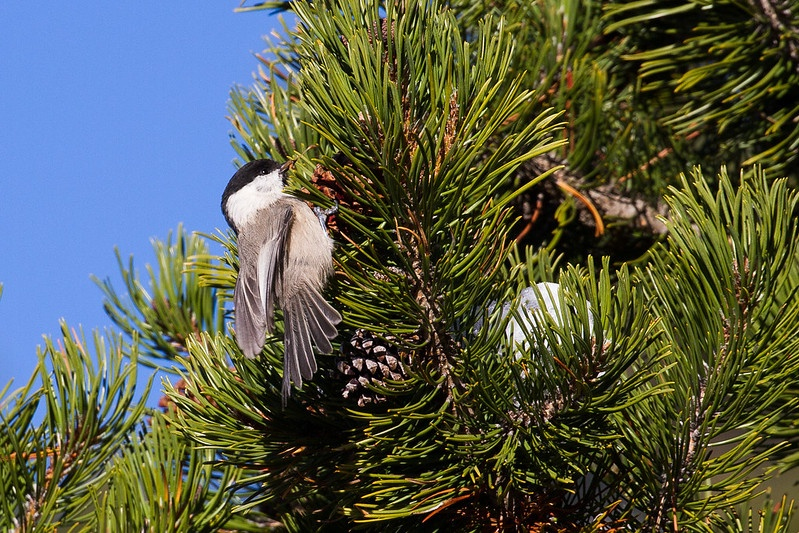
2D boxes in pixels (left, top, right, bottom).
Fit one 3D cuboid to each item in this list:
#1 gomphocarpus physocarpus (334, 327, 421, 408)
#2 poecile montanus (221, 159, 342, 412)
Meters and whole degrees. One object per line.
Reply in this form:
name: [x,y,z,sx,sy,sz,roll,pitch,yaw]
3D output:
gomphocarpus physocarpus: [-0.056,0.468,4.900,0.327,0.331,0.360,-8,-24,-3]
poecile montanus: [-0.504,0.055,5.189,0.506,1.279,0.429,-1,-49,-3]
